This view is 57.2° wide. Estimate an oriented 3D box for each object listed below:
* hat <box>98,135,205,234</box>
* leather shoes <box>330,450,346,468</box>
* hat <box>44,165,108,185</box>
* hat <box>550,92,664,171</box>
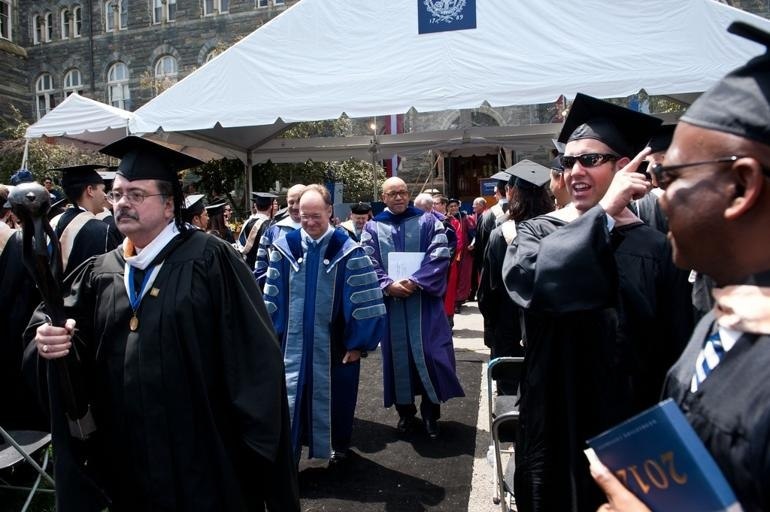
[{"bbox_3d":[-1.500,-0.465,4.650,0.582,0.602,0.550,3,14,-4],"label":"hat"},{"bbox_3d":[-0.405,1.749,6.073,0.082,0.172,0.246,-2,-26,10],"label":"leather shoes"},{"bbox_3d":[-2.869,-0.754,6.654,0.434,0.161,0.323,-2,4,-13],"label":"hat"},{"bbox_3d":[1.367,-0.796,4.332,0.607,0.396,0.374,2,11,17],"label":"hat"}]
